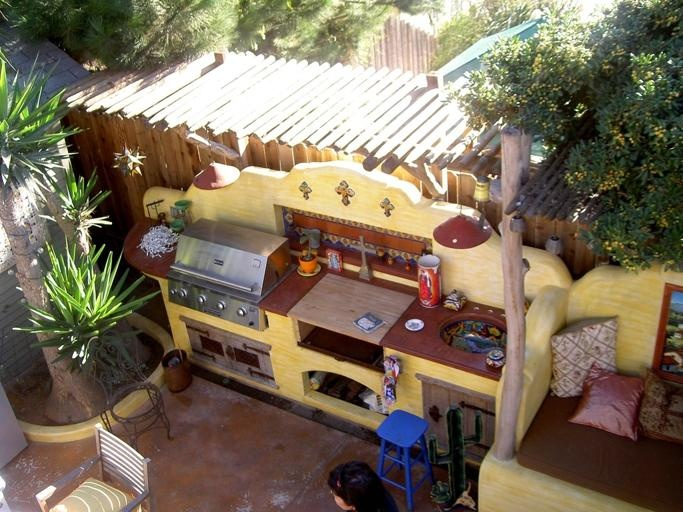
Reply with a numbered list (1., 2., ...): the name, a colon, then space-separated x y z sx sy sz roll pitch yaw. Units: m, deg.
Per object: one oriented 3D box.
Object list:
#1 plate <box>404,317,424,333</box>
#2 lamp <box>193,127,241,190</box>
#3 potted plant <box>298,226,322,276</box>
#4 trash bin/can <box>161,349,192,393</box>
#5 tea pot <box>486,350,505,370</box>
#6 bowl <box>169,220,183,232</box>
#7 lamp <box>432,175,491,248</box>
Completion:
1. plate: 0.867 0.809 6.109 0.231 0.031 0.214 6 38 13
2. lamp: -1.646 -1.318 6.978 0.652 0.726 0.737 -4 69 4
3. potted plant: -0.436 -0.068 7.076 0.308 0.480 0.480 -4 36 0
4. trash bin/can: -2.438 1.686 7.655 0.405 0.471 0.421 18 33 24
5. tea pot: 1.645 1.102 5.535 0.142 0.110 0.194 13 42 38
6. bowl: -2.481 -0.471 7.827 0.166 0.121 0.166 4 50 -5
7. lamp: 1.181 -0.487 5.082 0.563 0.626 0.588 -8 30 -2
